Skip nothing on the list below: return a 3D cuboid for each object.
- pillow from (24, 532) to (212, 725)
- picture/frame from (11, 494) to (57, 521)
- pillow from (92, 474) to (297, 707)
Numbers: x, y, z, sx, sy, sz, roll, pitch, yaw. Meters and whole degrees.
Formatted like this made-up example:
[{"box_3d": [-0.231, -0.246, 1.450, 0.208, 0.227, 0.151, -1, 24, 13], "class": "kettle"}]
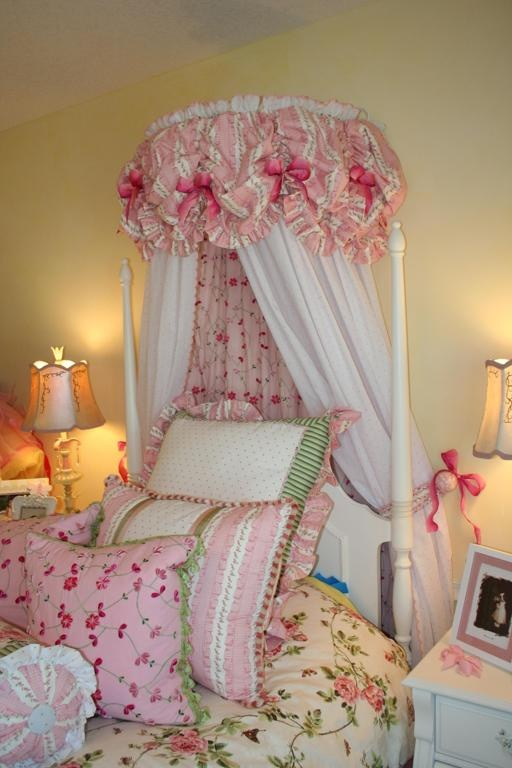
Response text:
[{"box_3d": [-0.263, 0.492, 1.292, 0.348, 0.296, 0.134, -3, -10, 30], "class": "pillow"}, {"box_3d": [-0.709, 0.397, 2.105, 0.135, 0.018, 0.137, -2, 31, -5], "class": "picture/frame"}, {"box_3d": [-0.123, 0.456, 1.408, 0.415, 0.312, 0.149, 0, -11, 42], "class": "pillow"}]
